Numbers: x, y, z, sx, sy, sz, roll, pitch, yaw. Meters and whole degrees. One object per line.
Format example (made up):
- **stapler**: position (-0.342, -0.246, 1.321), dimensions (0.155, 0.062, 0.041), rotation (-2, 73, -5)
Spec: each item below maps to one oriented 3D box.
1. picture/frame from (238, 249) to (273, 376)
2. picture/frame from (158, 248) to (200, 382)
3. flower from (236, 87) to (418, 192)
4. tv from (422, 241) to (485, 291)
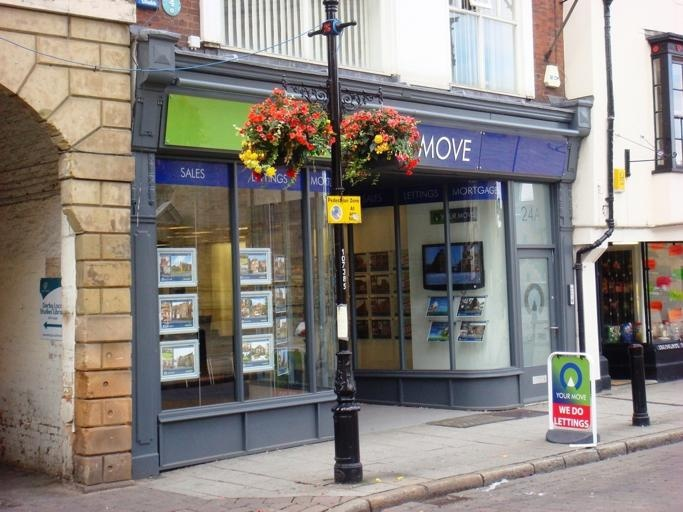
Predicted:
- **picture/frame**: position (-1.358, 0.869, 11.984), dimensions (0.596, 1.994, 0.070), rotation (2, -6, -41)
- **picture/frame**: position (-2.431, 0.875, 11.177), dimensions (0.680, 1.990, 0.053), rotation (2, -6, -41)
- **flower**: position (-0.225, -1.632, 9.926), dimensions (2.244, 1.195, 1.224), rotation (1, -5, -39)
- **tv**: position (2.202, 0.209, 14.919), dimensions (1.201, 0.950, 0.269), rotation (-2, -4, 4)
